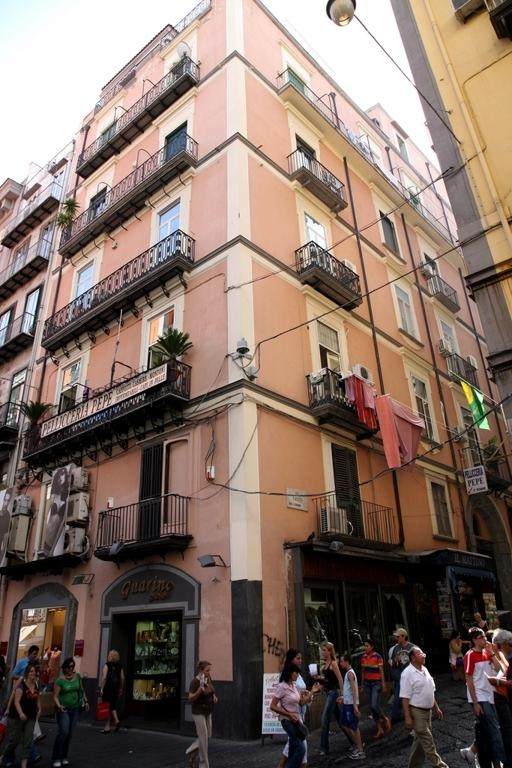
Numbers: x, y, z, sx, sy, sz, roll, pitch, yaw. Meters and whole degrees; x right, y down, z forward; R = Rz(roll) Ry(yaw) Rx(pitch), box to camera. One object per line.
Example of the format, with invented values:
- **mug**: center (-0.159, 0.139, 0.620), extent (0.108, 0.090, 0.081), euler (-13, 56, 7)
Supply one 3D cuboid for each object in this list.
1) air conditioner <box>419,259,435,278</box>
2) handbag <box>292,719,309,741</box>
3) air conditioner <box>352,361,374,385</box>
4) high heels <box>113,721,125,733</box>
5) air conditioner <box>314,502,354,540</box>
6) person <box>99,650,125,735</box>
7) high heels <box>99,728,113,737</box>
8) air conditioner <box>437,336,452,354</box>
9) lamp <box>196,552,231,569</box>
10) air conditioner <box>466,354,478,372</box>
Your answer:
- **air conditioner**: center (8.678, -5.866, 24.594), extent (0.463, 0.930, 0.934), euler (-13, -27, 35)
- **handbag**: center (0.449, 3.413, 4.810), extent (0.178, 0.231, 0.093), euler (3, 8, 3)
- **air conditioner**: center (3.570, -0.348, 16.201), extent (0.186, 0.590, 0.590), euler (-21, -41, 33)
- **high heels**: center (-3.001, 7.666, 10.705), extent (0.216, 0.188, 0.562), euler (-18, -27, -18)
- **air conditioner**: center (2.011, 3.628, 12.663), extent (0.310, 0.760, 0.806), euler (-25, -42, 38)
- **person**: center (-3.116, 6.760, 10.580), extent (0.435, 1.549, 1.247), euler (5, -28, -13)
- **high heels**: center (-3.185, 7.569, 10.451), extent (0.307, 0.144, 0.120), euler (-13, -45, 25)
- **air conditioner**: center (9.106, -1.888, 23.482), extent (0.316, 0.987, 1.004), euler (-21, -33, 34)
- **lamp**: center (-0.952, 3.838, 10.418), extent (0.720, 0.331, 0.369), euler (-25, -35, 35)
- **air conditioner**: center (11.341, -1.071, 25.396), extent (0.759, 0.756, 0.387), euler (-19, -3, -45)
